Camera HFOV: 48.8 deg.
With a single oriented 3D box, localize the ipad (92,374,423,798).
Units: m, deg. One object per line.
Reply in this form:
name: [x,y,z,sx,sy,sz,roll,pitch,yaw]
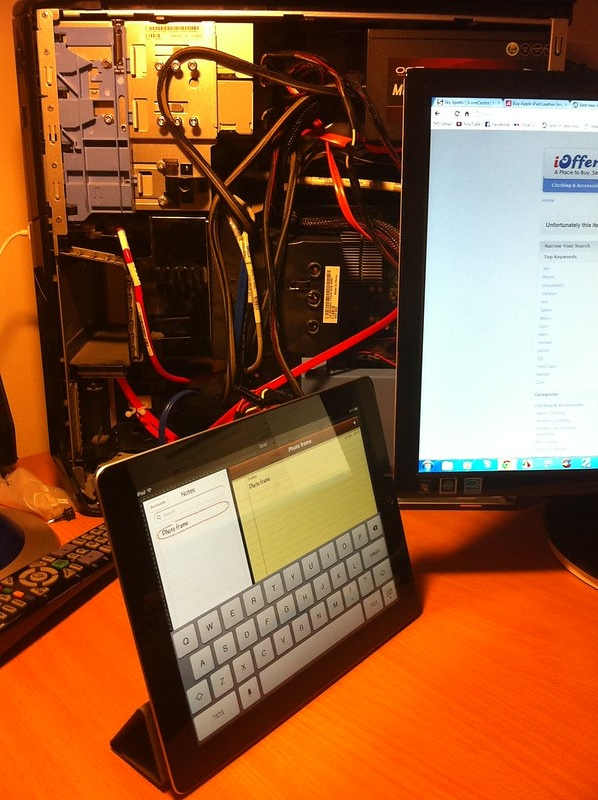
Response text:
ipad: [-0.020,0.135,0.450,0.075,0.165,0.217,22,35,38]
